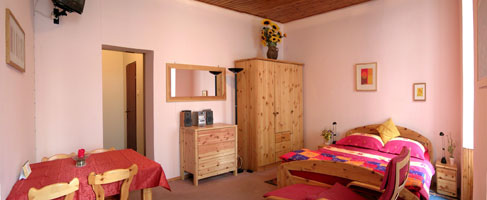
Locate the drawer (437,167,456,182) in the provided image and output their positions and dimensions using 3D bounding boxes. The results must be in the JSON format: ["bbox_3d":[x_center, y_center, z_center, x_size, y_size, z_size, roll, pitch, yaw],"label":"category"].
[{"bbox_3d":[5.760,2.082,8.172,0.616,0.419,0.351,0,0,34],"label":"drawer"}]

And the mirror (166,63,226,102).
[{"bbox_3d":[-1.451,-0.538,9.064,0.108,1.125,2.386,4,4,42],"label":"mirror"}]

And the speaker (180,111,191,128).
[{"bbox_3d":[-1.791,0.599,8.794,0.335,0.502,0.157,-2,5,-10],"label":"speaker"}]

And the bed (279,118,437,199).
[{"bbox_3d":[3.852,1.554,8.085,3.060,1.067,2.934,3,4,45],"label":"bed"}]

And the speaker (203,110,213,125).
[{"bbox_3d":[-1.121,0.545,9.004,0.288,0.464,0.127,-2,5,-8],"label":"speaker"}]

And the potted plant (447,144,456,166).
[{"bbox_3d":[5.991,1.568,8.185,0.209,0.558,0.338,1,5,32],"label":"potted plant"}]

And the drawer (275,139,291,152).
[{"bbox_3d":[1.321,1.538,9.642,0.587,0.417,0.186,-2,2,-38],"label":"drawer"}]

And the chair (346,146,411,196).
[{"bbox_3d":[3.628,1.696,7.363,1.300,1.270,1.336,-2,4,-39],"label":"chair"}]

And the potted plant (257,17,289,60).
[{"bbox_3d":[1.146,-2.169,10.065,1.130,1.492,0.569,-4,5,-30],"label":"potted plant"}]
